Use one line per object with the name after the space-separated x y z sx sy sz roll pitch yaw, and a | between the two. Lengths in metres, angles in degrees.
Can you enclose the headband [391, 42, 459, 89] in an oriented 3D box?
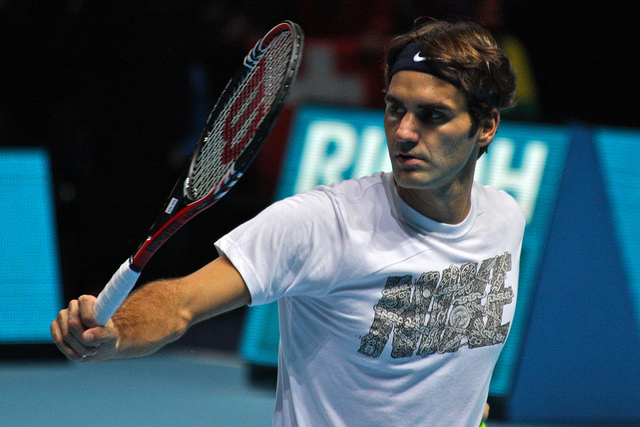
0.582 -0.887 4.412 0.464 0.220 0.179 20 25 32 | headband
